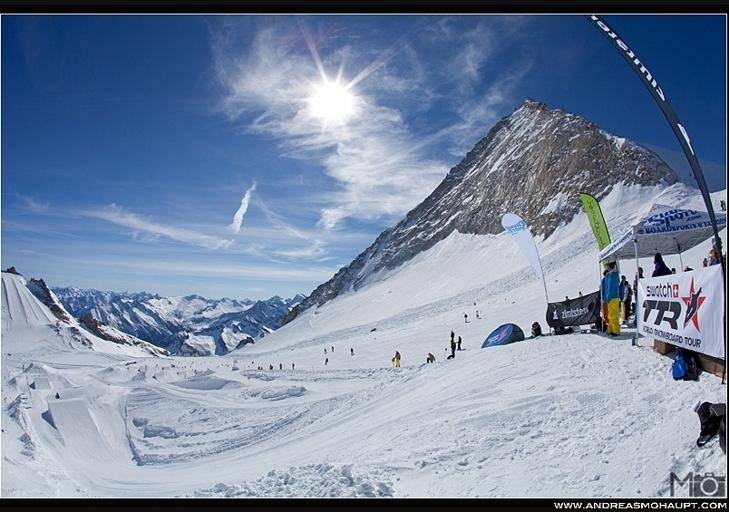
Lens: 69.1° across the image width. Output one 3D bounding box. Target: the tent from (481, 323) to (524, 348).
[{"bbox_3d":[7.792,4.525,29.866,1.871,1.203,3.042,-3,-7,-8],"label":"tent"}]
